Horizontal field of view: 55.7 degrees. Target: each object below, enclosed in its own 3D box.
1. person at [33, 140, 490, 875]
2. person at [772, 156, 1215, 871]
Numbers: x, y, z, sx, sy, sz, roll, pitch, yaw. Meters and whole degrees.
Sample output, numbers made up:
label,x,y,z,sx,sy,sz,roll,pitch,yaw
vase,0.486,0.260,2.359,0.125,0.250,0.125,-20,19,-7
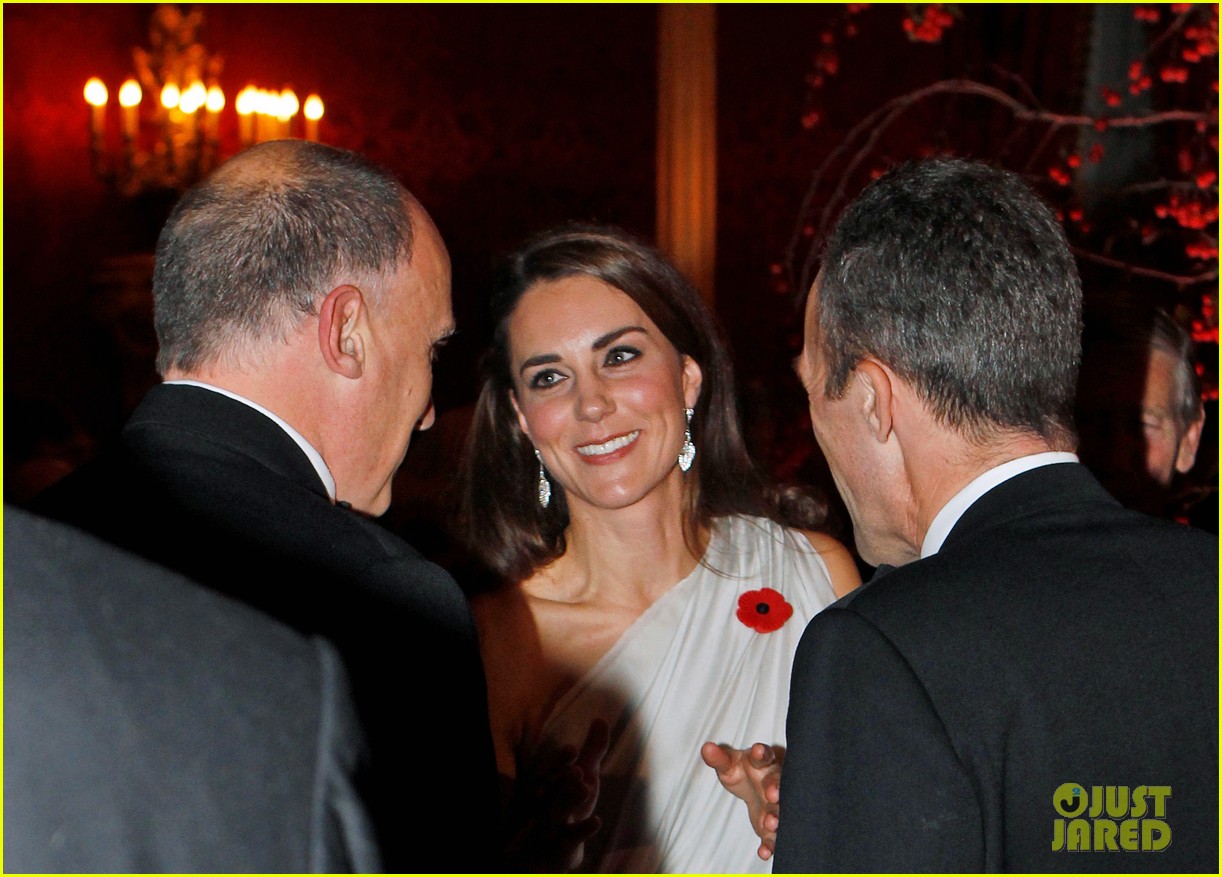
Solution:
label,x,y,z,sx,sy,sz,roll,pitch,yaw
person,-0.697,0.080,2.534,0.787,1.578,0.924,-4,5,-8
person,0.752,0.125,2.341,0.890,1.426,0.564,-2,5,7
